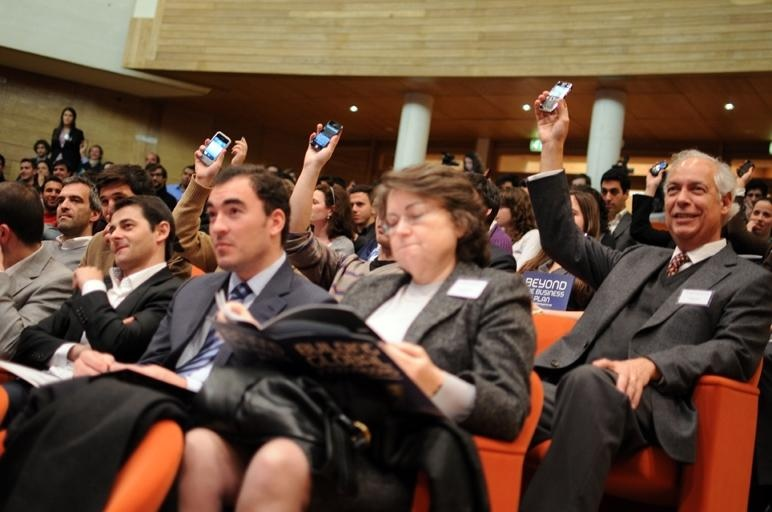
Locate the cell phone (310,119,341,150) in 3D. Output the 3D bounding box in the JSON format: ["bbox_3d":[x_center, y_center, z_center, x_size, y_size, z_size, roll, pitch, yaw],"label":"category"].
[{"bbox_3d":[-0.345,-0.699,2.945,0.111,0.050,0.253,10,43,18],"label":"cell phone"}]

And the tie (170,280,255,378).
[{"bbox_3d":[-0.644,0.310,2.070,0.122,0.358,0.258,40,-9,-20],"label":"tie"}]

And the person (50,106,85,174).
[{"bbox_3d":[-6.139,-1.995,9.826,0.618,1.476,0.475,8,7,-11],"label":"person"}]

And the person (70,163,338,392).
[{"bbox_3d":[-0.741,0.173,2.055,1.007,1.064,0.775,2,7,-20],"label":"person"}]

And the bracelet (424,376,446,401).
[{"bbox_3d":[0.136,0.368,1.446,0.015,0.051,0.050,38,-21,0],"label":"bracelet"}]
